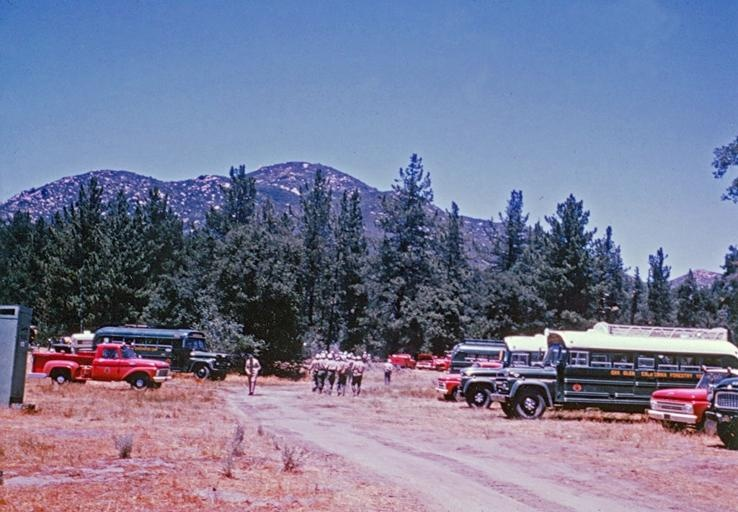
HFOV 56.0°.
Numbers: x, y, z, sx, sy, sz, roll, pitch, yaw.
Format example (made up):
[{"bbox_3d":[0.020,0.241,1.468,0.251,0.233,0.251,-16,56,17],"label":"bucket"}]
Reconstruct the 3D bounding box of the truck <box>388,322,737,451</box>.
[{"bbox_3d":[12.805,6.032,36.209,12.518,5.324,2.196,4,-7,-4],"label":"truck"}]
